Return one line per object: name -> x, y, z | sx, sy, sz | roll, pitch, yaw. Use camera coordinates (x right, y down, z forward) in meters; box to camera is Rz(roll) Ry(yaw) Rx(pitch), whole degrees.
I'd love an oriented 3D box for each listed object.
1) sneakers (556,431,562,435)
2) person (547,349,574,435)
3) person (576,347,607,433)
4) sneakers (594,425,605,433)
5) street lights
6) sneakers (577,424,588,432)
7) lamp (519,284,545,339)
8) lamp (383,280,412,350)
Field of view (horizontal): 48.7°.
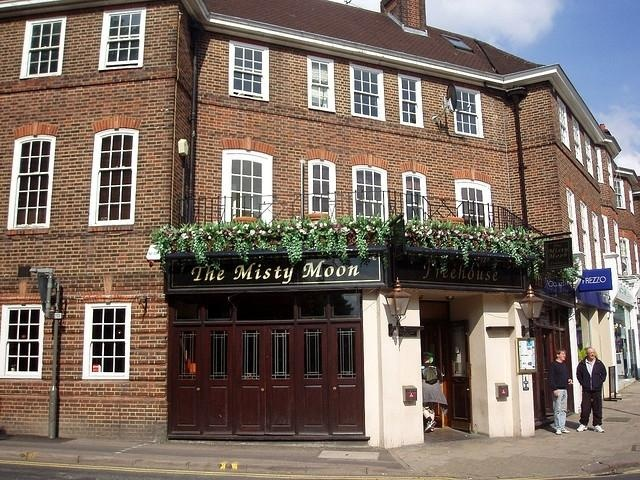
sneakers -> 6.506, 5.203, 19.180 | 0.149, 0.110, 0.148 | -6, -12, 16
person -> 6.662, 4.201, 19.598 | 0.489, 2.221, 0.863 | -6, -12, 17
person -> 7.480, 4.113, 19.473 | 0.854, 2.253, 0.899 | -6, -12, 19
sneakers -> 7.606, 5.112, 19.194 | 0.123, 0.146, 0.313 | -1, -11, -4
street lights -> -6.890, 2.865, 18.046 | 0.494, 4.286, 0.842 | -3, -11, 3
sneakers -> 7.265, 5.154, 19.434 | 0.444, 0.199, 0.151 | 1, -7, -21
lamp -> 5.868, 1.928, 19.563 | 0.606, 1.467, 0.771 | -6, -12, 16
lamp -> 1.995, 1.810, 17.993 | 0.548, 1.635, 0.719 | -1, -11, -9
